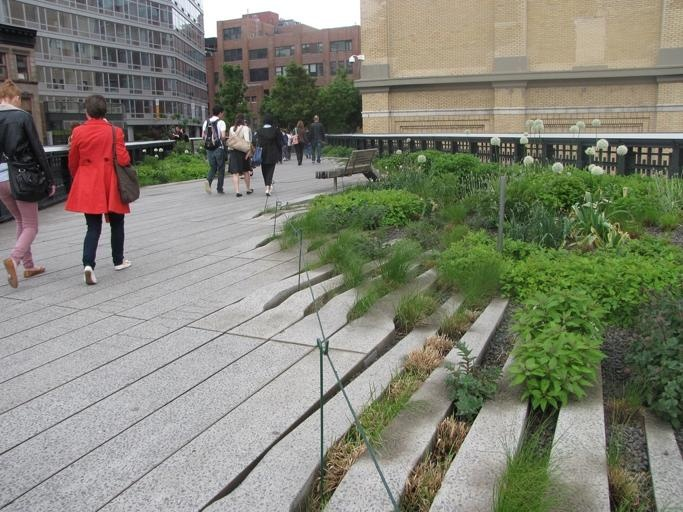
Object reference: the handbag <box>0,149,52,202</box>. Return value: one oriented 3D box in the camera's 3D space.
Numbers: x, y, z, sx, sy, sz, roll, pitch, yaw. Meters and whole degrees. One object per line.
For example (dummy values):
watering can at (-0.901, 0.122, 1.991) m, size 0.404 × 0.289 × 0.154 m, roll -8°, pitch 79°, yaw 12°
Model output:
handbag at (-4.068, -1.048, 5.671) m, size 0.461 × 0.661 × 0.272 m, roll -6°, pitch 13°, yaw -24°

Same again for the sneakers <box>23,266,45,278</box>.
sneakers at (-4.227, 0.208, 6.070) m, size 0.102 × 0.127 × 0.305 m, roll 6°, pitch 19°, yaw 9°

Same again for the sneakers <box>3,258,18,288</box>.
sneakers at (-4.158, 0.207, 5.497) m, size 0.115 × 0.366 × 0.136 m, roll -6°, pitch 1°, yaw -3°

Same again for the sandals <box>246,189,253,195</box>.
sandals at (-2.860, -2.021, 13.617) m, size 0.110 × 0.144 × 0.345 m, roll -12°, pitch 0°, yaw 0°

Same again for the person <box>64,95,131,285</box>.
person at (-3.226, -0.945, 5.830) m, size 0.810 × 2.404 × 0.985 m, roll -9°, pitch 15°, yaw -34°

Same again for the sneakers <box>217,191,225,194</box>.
sneakers at (-3.864, -2.099, 14.040) m, size 0.230 × 0.121 × 0.367 m, roll -4°, pitch 14°, yaw -16°

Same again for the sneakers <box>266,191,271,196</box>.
sneakers at (-2.151, -1.856, 12.637) m, size 0.127 × 0.139 × 0.126 m, roll -1°, pitch -2°, yaw 6°

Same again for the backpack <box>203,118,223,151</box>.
backpack at (-4.135, -3.851, 13.941) m, size 0.589 × 0.953 × 0.477 m, roll -4°, pitch 3°, yaw 7°

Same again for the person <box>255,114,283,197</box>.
person at (-2.177, -3.179, 13.528) m, size 0.716 × 2.346 × 0.703 m, roll 4°, pitch 12°, yaw 16°

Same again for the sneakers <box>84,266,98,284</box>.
sneakers at (-3.206, 0.232, 5.560) m, size 0.107 × 0.328 × 0.132 m, roll -2°, pitch 18°, yaw -13°

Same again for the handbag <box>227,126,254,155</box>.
handbag at (-3.079, -3.542, 13.170) m, size 0.708 × 0.827 × 0.529 m, roll -3°, pitch 13°, yaw -12°

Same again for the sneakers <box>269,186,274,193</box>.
sneakers at (-2.226, -2.162, 13.974) m, size 0.148 × 0.207 × 0.468 m, roll -6°, pitch 6°, yaw -4°
